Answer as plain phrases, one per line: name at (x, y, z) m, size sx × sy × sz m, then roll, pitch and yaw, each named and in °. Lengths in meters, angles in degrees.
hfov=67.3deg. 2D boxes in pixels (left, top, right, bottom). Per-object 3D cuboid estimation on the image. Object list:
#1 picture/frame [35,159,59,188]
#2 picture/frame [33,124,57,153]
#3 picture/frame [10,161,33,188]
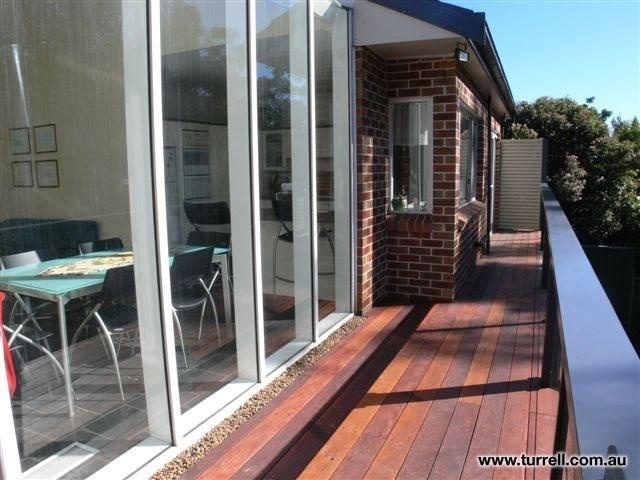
picture/frame at (-1.279, -0.312, 2.245) m, size 0.009 × 0.150 × 0.115 m, roll 8°, pitch 11°, yaw 33°
picture/frame at (-1.284, -0.471, 2.234) m, size 0.006 × 0.167 × 0.119 m, roll 6°, pitch 13°, yaw 34°
picture/frame at (-1.347, -0.298, 2.161) m, size 0.015 × 0.161 × 0.110 m, roll 6°, pitch 7°, yaw 30°
